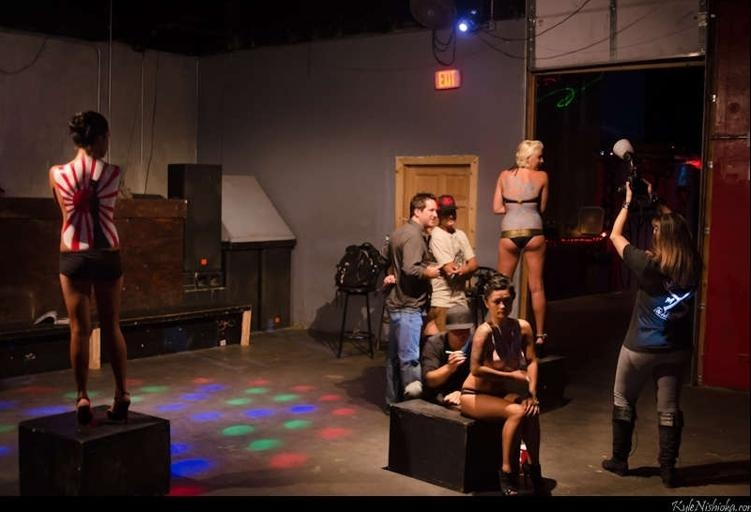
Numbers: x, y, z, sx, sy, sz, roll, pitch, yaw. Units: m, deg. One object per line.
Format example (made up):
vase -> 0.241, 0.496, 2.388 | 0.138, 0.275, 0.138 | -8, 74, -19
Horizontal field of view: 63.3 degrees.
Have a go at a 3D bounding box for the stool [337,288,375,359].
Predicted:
stool -> -0.277, 0.849, 8.526 | 0.514, 0.890, 1.302 | 0, 9, -2

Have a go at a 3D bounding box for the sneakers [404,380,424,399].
sneakers -> 0.329, 1.180, 5.365 | 0.168, 0.170, 0.132 | 10, -4, 18

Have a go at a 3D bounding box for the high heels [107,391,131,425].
high heels -> -1.860, 1.118, 4.448 | 0.104, 0.139, 0.277 | 2, 0, -29

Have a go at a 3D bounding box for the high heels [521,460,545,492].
high heels -> 1.177, 1.661, 4.558 | 0.092, 0.299, 0.116 | -24, 31, -8

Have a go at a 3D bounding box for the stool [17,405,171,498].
stool -> -1.963, 1.288, 4.390 | 0.722, 0.456, 0.735 | 1, -1, 34

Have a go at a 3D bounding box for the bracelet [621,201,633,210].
bracelet -> 1.997, -0.403, 4.876 | 0.040, 0.045, 0.114 | 7, 27, 32

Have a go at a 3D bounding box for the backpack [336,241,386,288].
backpack -> -0.210, 0.127, 8.218 | 0.688, 0.672, 0.490 | 6, -33, 1

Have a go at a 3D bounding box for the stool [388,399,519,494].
stool -> 0.673, 1.473, 5.010 | 0.986, 0.540, 0.646 | 6, 1, 28

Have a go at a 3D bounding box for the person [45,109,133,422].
person -> -2.098, 0.051, 4.548 | 0.476, 2.248, 0.736 | -4, 10, -27

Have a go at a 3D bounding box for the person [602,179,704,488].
person -> 2.124, 0.687, 4.744 | 0.613, 2.129, 0.355 | 5, 10, 28

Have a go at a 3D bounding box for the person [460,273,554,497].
person -> 0.959, 0.953, 4.631 | 0.624, 1.598, 0.582 | 0, 9, 1

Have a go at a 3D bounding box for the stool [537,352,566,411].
stool -> 1.774, 1.298, 6.178 | 0.305, 0.569, 0.602 | 3, 9, 26
